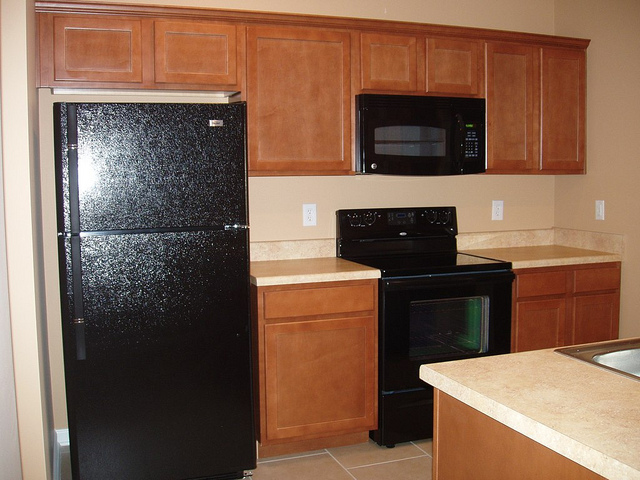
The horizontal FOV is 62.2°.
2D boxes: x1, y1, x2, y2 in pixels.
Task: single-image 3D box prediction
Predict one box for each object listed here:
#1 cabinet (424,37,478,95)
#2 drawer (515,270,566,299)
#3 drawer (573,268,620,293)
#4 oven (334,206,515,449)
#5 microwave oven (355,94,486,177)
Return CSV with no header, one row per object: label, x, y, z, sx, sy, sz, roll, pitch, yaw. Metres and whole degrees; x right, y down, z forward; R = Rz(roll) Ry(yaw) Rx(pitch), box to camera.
cabinet,0.829,-1.107,3.481,0.414,0.360,0.222,1,-1,-10
drawer,1.385,0.275,3.327,0.279,0.142,0.179,-2,4,-20
drawer,1.799,0.264,3.448,0.259,0.134,0.167,-2,3,-15
oven,0.664,0.487,3.414,0.886,1.380,0.731,-3,8,-17
microwave oven,0.653,-0.625,3.475,0.838,0.507,0.460,-1,-5,-7
